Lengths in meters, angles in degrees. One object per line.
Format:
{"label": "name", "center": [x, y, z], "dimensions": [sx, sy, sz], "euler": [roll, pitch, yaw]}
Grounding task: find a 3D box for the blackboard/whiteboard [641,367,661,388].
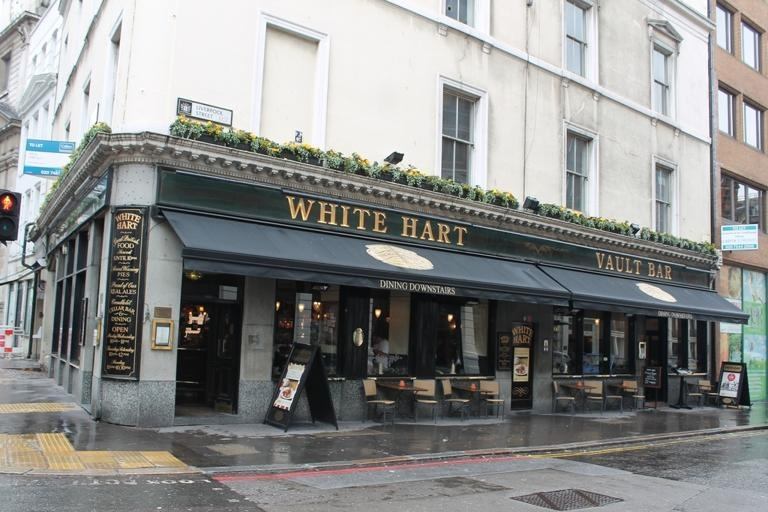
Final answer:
{"label": "blackboard/whiteboard", "center": [10.144, 4.620, 30.762], "dimensions": [0.929, 0.968, 0.150], "euler": [3, -7, 43]}
